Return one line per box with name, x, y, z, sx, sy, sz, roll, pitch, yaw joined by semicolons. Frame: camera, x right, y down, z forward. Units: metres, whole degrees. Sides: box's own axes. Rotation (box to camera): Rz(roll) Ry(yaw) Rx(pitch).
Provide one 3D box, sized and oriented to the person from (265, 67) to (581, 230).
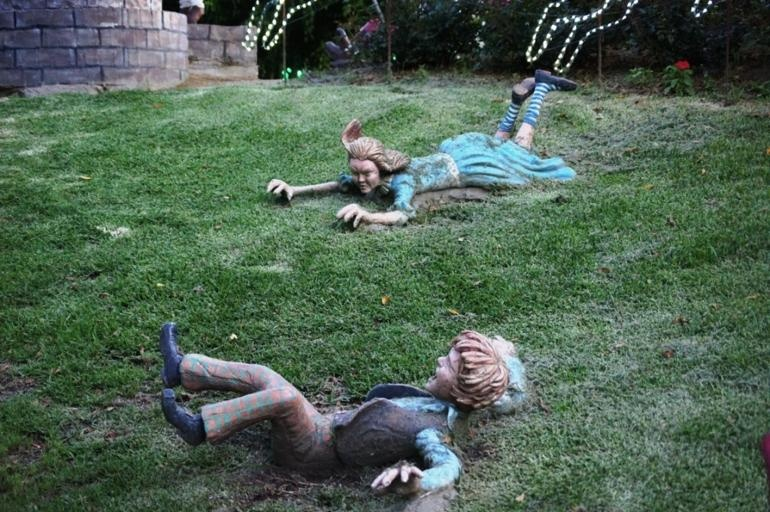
person;0.433;-0.949;7.389;2.863;1.088;1.391;-12;18;-19
